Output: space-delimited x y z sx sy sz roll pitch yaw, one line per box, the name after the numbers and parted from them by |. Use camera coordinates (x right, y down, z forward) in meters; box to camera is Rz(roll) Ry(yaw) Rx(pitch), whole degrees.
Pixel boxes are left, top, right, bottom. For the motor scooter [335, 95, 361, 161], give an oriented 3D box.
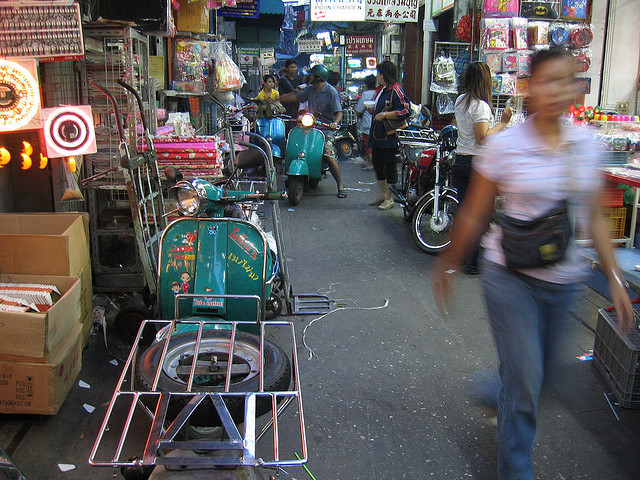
0.666 -3.291 14.868 0.872 1.644 2.209 -4 10 -2 | motor scooter

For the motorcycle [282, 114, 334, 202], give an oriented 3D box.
-0.236 -1.556 9.124 0.666 1.101 1.615 5 20 5 | motorcycle

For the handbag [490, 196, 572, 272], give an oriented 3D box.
1.041 -0.037 2.603 0.346 0.378 0.273 -10 2 3 | handbag

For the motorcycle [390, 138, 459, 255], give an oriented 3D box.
1.427 -0.755 7.116 0.786 1.152 1.861 1 24 -7 | motorcycle

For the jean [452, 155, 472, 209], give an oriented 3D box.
1.727 -0.730 6.102 0.138 0.651 0.321 -12 18 -30 | jean

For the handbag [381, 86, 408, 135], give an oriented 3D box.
1.140 -1.973 7.657 0.395 0.658 0.280 -5 16 -10 | handbag
